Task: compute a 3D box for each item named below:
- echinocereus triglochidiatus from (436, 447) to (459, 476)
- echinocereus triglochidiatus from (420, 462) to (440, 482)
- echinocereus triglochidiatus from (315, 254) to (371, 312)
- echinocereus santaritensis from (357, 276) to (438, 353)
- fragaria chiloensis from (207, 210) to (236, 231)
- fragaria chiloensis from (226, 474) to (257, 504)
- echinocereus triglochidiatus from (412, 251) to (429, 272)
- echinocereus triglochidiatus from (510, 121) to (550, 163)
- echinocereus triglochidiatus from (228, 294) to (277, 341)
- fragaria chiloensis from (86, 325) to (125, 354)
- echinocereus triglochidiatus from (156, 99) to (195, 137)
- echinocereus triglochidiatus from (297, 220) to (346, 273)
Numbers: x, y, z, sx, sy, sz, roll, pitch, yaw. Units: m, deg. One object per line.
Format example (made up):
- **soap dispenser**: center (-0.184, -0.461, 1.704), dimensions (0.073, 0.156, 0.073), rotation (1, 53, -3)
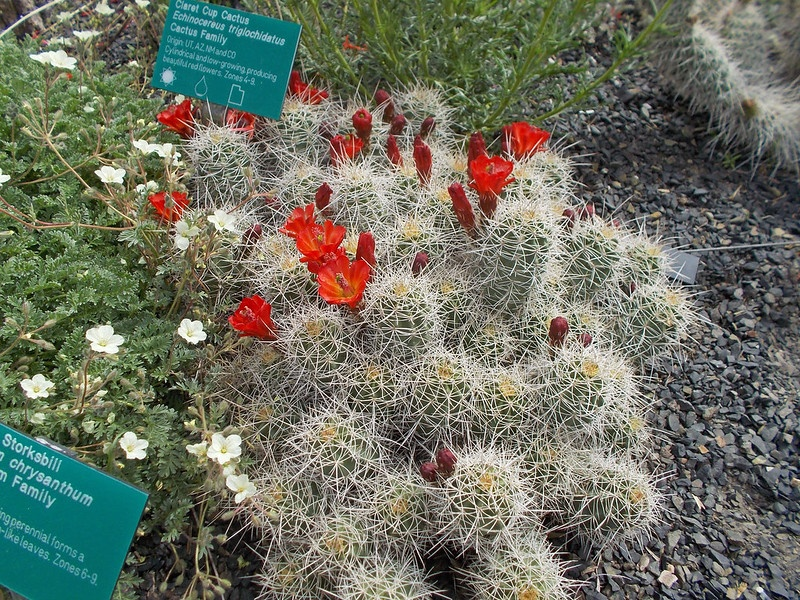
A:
- **echinocereus triglochidiatus**: center (0.182, 0.612, 2.471), dimensions (0.072, 0.075, 0.105), rotation (4, 90, 7)
- **echinocereus triglochidiatus**: center (0.118, 0.667, 2.570), dimensions (0.067, 0.067, 0.083), rotation (25, 47, -38)
- **echinocereus triglochidiatus**: center (-0.231, -0.044, 2.636), dimensions (0.202, 0.212, 0.200), rotation (7, 62, -4)
- **echinocereus santaritensis**: center (0.014, 0.064, 2.761), dimensions (0.299, 0.308, 0.327), rotation (-2, 91, 11)
- **fragaria chiloensis**: center (-0.726, -0.309, 2.678), dimensions (0.095, 0.038, 0.102), rotation (-29, 69, -26)
- **fragaria chiloensis**: center (-0.598, 0.702, 2.452), dimensions (0.080, 0.075, 0.103), rotation (-30, 71, -21)
- **echinocereus triglochidiatus**: center (0.088, -0.157, 2.751), dimensions (0.055, 0.066, 0.079), rotation (31, 63, 9)
- **echinocereus triglochidiatus**: center (0.595, -0.747, 3.111), dimensions (0.180, 0.161, 0.183), rotation (-1, 37, -33)
- **echinocereus triglochidiatus**: center (-0.610, 0.089, 2.700), dimensions (0.180, 0.225, 0.156), rotation (-12, 64, -13)
- **fragaria chiloensis**: center (-1.104, 0.155, 2.453), dimensions (0.117, 0.116, 0.118), rotation (-7, 64, -11)
- **echinocereus triglochidiatus**: center (-1.077, -0.892, 3.185), dimensions (0.175, 0.173, 0.120), rotation (-16, 100, -15)
- **echinocereus triglochidiatus**: center (-0.326, -0.201, 2.701), dimensions (0.194, 0.229, 0.202), rotation (4, 105, 12)
